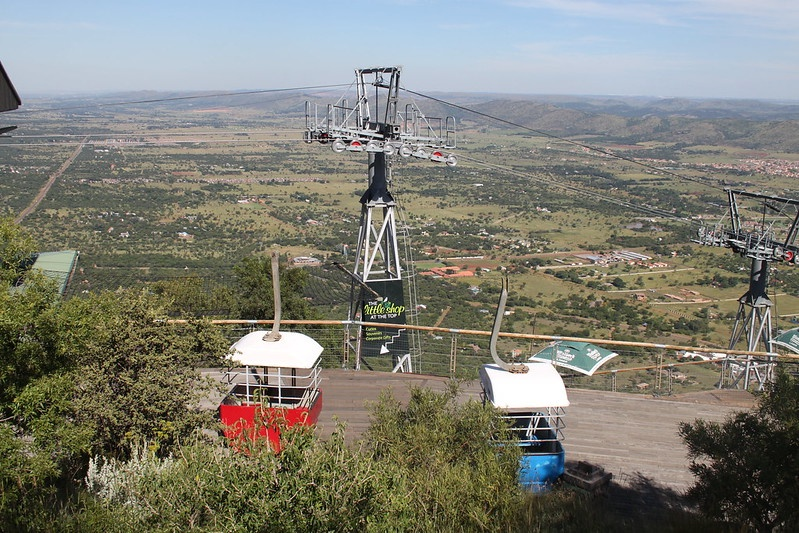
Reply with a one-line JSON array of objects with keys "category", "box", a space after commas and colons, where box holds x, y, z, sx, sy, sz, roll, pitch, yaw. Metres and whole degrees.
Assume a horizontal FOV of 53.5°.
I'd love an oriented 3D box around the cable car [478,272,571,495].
[{"category": "cable car", "box": [2.818, 2.240, 17.999, 2.488, 5.440, 2.826, -3, 14, -1]}]
